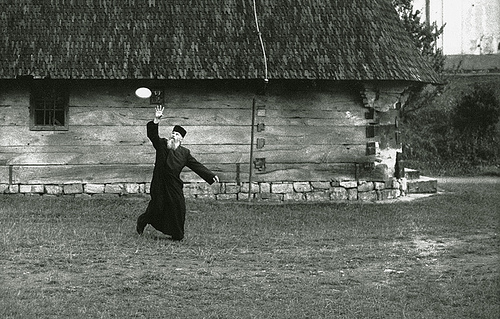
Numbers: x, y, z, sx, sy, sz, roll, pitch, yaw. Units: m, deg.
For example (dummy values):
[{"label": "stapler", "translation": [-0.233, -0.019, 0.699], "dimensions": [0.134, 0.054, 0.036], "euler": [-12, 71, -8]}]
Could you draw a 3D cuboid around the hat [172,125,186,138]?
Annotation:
[{"label": "hat", "translation": [-1.884, -0.693, 24.012], "dimensions": [0.298, 0.181, 0.251], "euler": [42, -22, -26]}]
